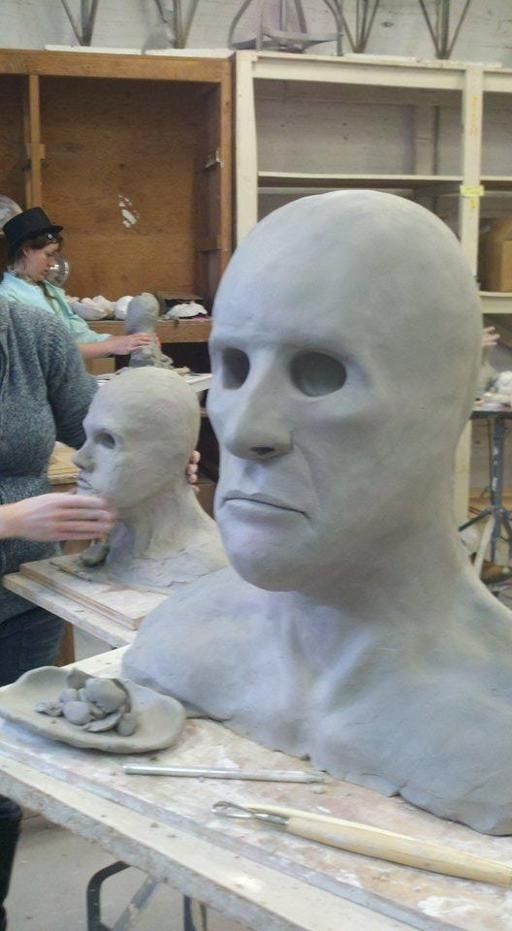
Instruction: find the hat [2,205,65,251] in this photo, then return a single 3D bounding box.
[{"bbox_3d":[-0.858,-0.874,3.813,0.205,0.103,0.160,-18,20,27],"label":"hat"}]
